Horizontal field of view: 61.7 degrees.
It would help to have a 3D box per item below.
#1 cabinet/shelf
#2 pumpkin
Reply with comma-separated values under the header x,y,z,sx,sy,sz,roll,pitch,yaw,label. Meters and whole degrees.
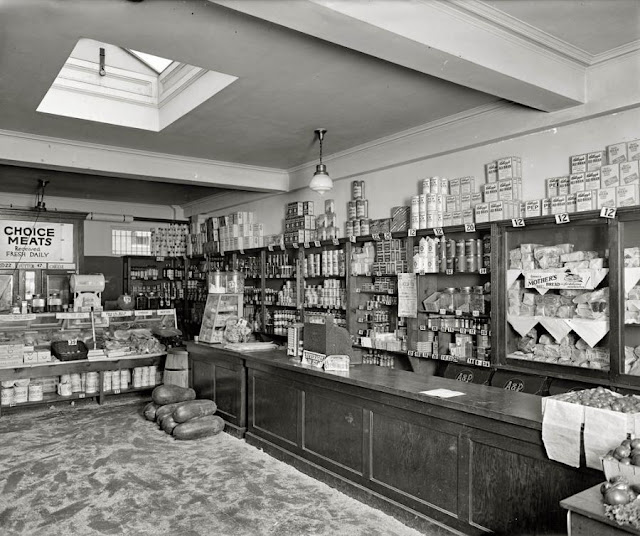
x,y,z,sx,sy,sz,roll,pitch,yaw,label
-0.374,0.663,6.103,6.933,2.456,3.814,2,4,42,cabinet/shelf
-1.480,1.709,6.265,0.613,0.201,0.634,8,0,22,pumpkin
